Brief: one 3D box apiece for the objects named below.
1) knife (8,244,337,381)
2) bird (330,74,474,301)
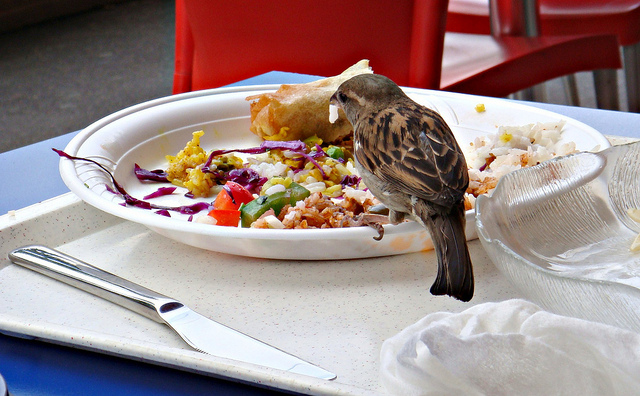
[{"bbox_3d":[-0.215,0.176,0.792,0.446,0.020,0.064,19,27,35],"label":"knife"},{"bbox_3d":[0.152,-0.046,0.891,0.198,0.249,0.380,-13,32,-21],"label":"bird"}]
